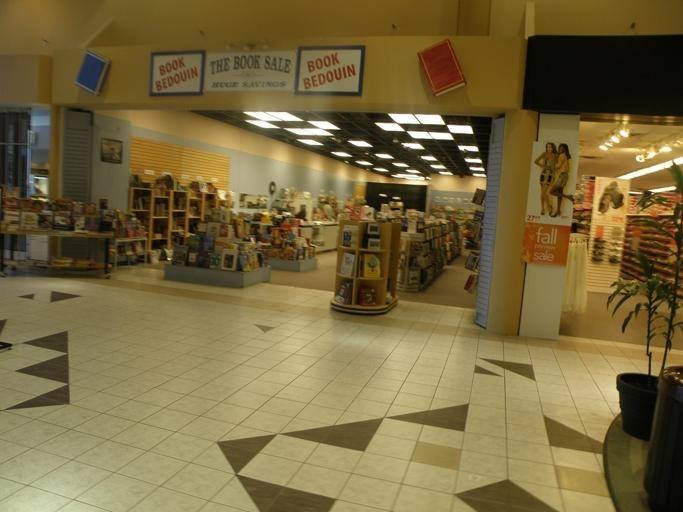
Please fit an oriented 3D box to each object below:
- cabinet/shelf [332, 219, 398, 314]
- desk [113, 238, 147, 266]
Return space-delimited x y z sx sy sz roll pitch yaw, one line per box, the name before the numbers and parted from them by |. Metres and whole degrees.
cabinet/shelf | 0.537 0.165 8.363 1.585 1.524 1.658 4 3 13
desk | -4.902 -0.120 10.679 0.403 0.668 1.111 7 11 2
